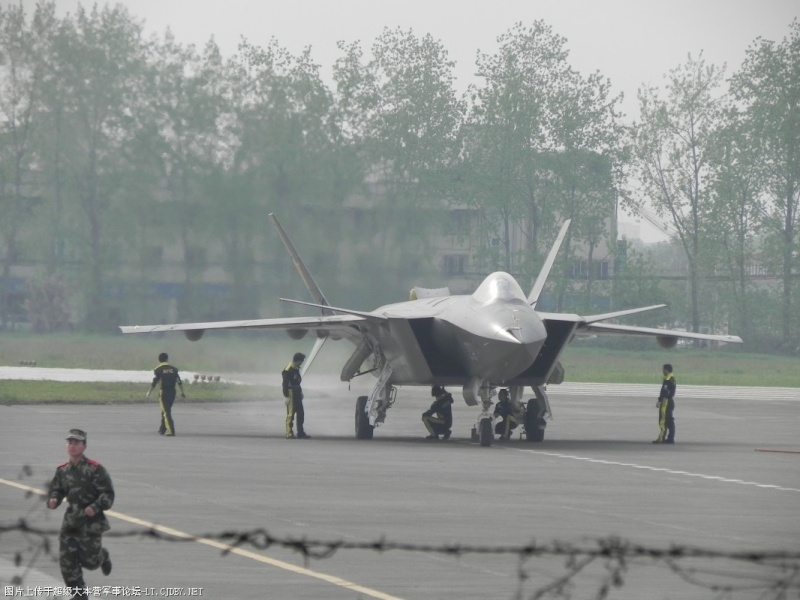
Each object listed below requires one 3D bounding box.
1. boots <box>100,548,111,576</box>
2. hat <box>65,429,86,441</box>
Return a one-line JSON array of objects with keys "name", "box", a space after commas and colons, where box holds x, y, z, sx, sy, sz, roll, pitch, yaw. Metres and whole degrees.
[{"name": "boots", "box": [-6.909, 6.093, 41.124, 0.306, 0.539, 0.242, -14, -11, 38]}, {"name": "hat", "box": [-7.580, 3.169, 41.361, 0.368, 0.179, 0.497, 5, -6, 4]}]
